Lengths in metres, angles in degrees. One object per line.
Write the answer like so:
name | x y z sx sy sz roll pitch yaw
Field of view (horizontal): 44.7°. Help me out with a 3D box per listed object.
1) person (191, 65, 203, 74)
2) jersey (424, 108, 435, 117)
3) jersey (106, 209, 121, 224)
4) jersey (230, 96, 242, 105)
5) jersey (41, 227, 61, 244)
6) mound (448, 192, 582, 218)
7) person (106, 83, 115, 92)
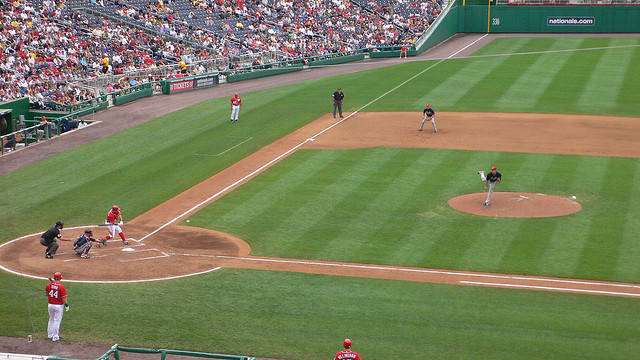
person | -11.946 -10.841 76.203 0.886 0.722 0.841 -20 28 -34
jersey | 8.507 -5.294 60.662 0.615 0.682 0.591 -6 24 -3
jersey | -12.609 2.294 47.801 0.581 0.840 0.976 31 13 9
jersey | -6.975 -6.461 64.543 1.328 0.658 0.579 3 34 3
jersey | -15.955 3.355 46.475 0.814 1.060 0.845 13 41 -52
mound | 12.678 1.664 50.770 7.663 0.466 3.223 1 20 8
person | -18.592 -8.203 69.350 0.598 0.663 0.300 -24 -3 -31
